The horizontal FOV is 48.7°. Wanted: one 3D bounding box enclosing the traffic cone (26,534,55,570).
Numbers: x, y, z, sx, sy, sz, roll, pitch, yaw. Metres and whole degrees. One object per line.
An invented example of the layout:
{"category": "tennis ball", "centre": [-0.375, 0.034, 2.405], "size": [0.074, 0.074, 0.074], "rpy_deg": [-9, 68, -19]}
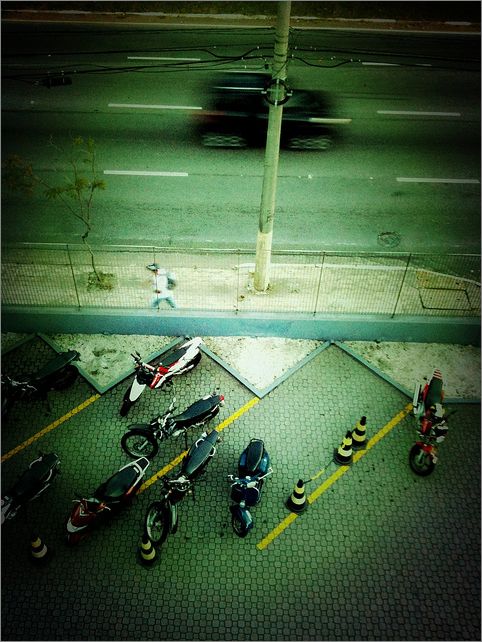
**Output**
{"category": "traffic cone", "centre": [-3.019, 3.489, 7.999], "size": [0.416, 0.540, 0.401], "rpy_deg": [10, 50, 5]}

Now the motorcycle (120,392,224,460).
{"category": "motorcycle", "centre": [-1.297, 1.661, 9.648], "size": [1.867, 1.043, 0.870], "rpy_deg": [-23, 69, -8]}

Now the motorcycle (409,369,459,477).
{"category": "motorcycle", "centre": [3.233, 1.758, 9.188], "size": [0.915, 1.061, 1.638], "rpy_deg": [14, 74, -14]}

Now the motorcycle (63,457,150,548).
{"category": "motorcycle", "centre": [-2.148, 2.811, 8.519], "size": [0.678, 0.807, 1.520], "rpy_deg": [45, 54, 11]}

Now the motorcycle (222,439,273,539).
{"category": "motorcycle", "centre": [0.168, 2.631, 8.559], "size": [0.619, 0.867, 1.429], "rpy_deg": [10, 55, 4]}

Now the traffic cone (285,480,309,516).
{"category": "traffic cone", "centre": [0.928, 2.943, 8.779], "size": [0.467, 0.600, 0.448], "rpy_deg": [3, 45, 2]}

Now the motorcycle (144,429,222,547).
{"category": "motorcycle", "centre": [-0.947, 2.621, 8.522], "size": [0.837, 1.031, 1.713], "rpy_deg": [39, 74, 4]}

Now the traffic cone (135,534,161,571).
{"category": "traffic cone", "centre": [-1.414, 3.424, 8.046], "size": [0.407, 0.541, 0.327], "rpy_deg": [6, 23, 7]}

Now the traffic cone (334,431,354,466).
{"category": "traffic cone", "centre": [1.870, 2.194, 9.485], "size": [0.339, 0.635, 0.423], "rpy_deg": [9, 24, 12]}
